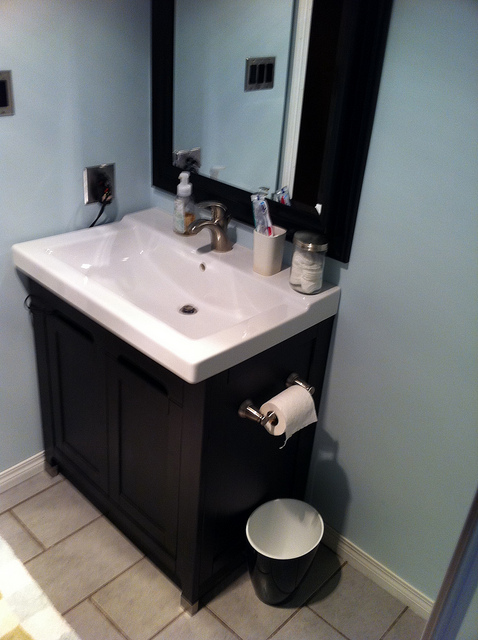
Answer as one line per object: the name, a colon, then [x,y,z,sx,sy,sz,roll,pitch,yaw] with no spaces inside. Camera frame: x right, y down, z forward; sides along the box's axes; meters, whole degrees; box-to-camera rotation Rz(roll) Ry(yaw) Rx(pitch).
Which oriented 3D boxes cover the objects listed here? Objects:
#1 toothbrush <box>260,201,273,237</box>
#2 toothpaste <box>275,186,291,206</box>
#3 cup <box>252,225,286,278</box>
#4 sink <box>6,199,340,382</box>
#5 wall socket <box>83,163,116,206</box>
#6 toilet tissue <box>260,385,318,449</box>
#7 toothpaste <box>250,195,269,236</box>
toothbrush: [0.069,-0.257,1.232,0.006,0.110,0.021,0,18,21]
toothpaste: [0.119,-0.328,1.274,0.006,0.055,0.037,-29,37,-31]
cup: [0.087,-0.189,1.296,0.100,0.125,0.108,3,25,-1]
sink: [-0.177,-0.131,1.302,0.865,0.199,0.542,26,35,32]
wall socket: [-0.435,-0.421,1.485,0.011,0.104,0.085,23,41,34]
toilet tissue: [0.117,0.199,1.135,0.097,0.143,0.106,25,34,34]
toothpaste: [0.050,-0.271,1.250,0.045,0.104,0.012,-19,47,-29]
